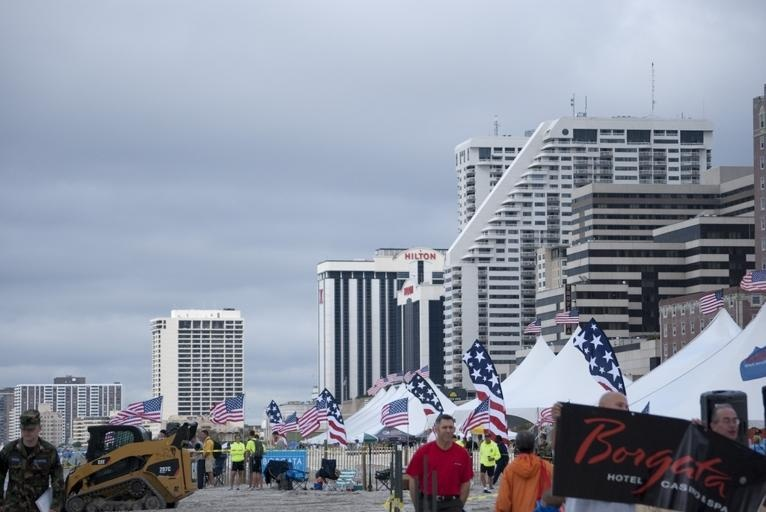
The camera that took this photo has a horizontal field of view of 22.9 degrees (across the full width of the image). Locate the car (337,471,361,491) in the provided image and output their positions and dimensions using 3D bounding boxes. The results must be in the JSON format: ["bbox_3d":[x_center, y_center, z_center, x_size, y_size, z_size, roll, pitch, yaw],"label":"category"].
[{"bbox_3d":[-4.677,29.773,250.970,2.056,1.913,3.452,-1,-13,5],"label":"car"}]

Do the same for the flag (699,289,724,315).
[{"bbox_3d":[50.753,6.901,291.134,6.136,3.808,0.971,-1,8,22],"label":"flag"}]

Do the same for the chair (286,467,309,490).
[{"bbox_3d":[-11.222,29.562,251.252,3.314,3.120,2.723,3,-20,-19],"label":"chair"}]
